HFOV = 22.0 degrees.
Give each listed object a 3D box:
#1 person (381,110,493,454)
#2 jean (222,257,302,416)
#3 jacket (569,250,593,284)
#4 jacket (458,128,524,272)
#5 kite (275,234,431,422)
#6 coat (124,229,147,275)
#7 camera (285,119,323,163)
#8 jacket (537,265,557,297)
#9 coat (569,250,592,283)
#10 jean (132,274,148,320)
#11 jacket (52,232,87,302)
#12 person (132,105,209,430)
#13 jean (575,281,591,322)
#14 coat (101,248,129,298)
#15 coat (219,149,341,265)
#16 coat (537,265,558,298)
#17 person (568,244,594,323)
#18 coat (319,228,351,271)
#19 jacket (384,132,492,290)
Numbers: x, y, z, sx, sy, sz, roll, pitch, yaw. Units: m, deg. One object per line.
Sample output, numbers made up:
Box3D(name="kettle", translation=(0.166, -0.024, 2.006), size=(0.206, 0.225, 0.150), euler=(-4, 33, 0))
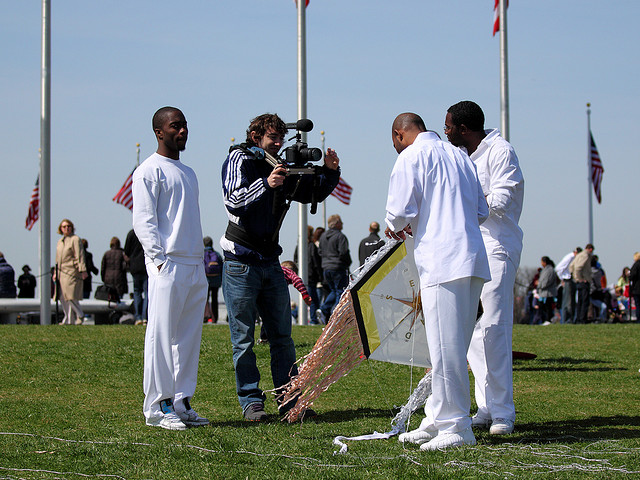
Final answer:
Box3D(name="person", translation=(1.300, 0.459, 18.451), size=(1.096, 3.584, 0.950), euler=(4, 9, 21))
Box3D(name="jean", translation=(-0.703, 1.071, 19.802), size=(0.723, 2.107, 0.577), euler=(-5, 15, -13))
Box3D(name="jacket", translation=(4.692, 0.502, 29.673), size=(0.294, 0.670, 0.482), euler=(7, -6, -11))
Box3D(name="jacket", translation=(1.922, -0.357, 18.688), size=(0.422, 1.628, 0.502), euler=(3, 2, 2))
Box3D(name="kite", translation=(0.525, 0.937, 19.064), size=(1.500, 1.972, 0.330), euler=(-2, 9, -16))
Box3D(name="coat", translation=(-3.043, 0.176, 27.018), size=(0.320, 0.749, 1.066), euler=(-1, 9, -7))
Box3D(name="camera", translation=(-0.219, -1.146, 19.309), size=(0.423, 0.475, 0.569), euler=(-2, 9, -18))
Box3D(name="jacket", translation=(4.262, 0.696, 30.646), size=(0.332, 0.601, 0.511), euler=(8, 18, 30))
Box3D(name="coat", translation=(4.706, 0.501, 29.685), size=(0.294, 0.633, 0.466), euler=(9, -5, -10))
Box3D(name="jean", translation=(-2.976, 0.918, 27.191), size=(0.222, 0.803, 0.480), euler=(0, 9, -3))
Box3D(name="jacket", translation=(-4.134, 0.457, 27.106), size=(0.620, 1.300, 0.339), euler=(1, 1, 34))
Box3D(name="person", translation=(-1.733, 0.320, 19.159), size=(0.884, 3.604, 0.925), euler=(8, 11, 41))
Box3D(name="jean", translation=(4.726, 1.100, 29.787), size=(0.256, 0.811, 0.482), euler=(2, 9, 8))
Box3D(name="coat", translation=(-3.614, 0.582, 28.849), size=(0.446, 0.959, 0.560), euler=(-1, 9, -8))
Box3D(name="coat", translation=(-0.545, -0.442, 19.558), size=(1.258, 1.508, 1.350), euler=(0, 2, -25))
Box3D(name="coat", translation=(4.289, 0.774, 30.686), size=(0.369, 0.628, 0.572), euler=(-3, -12, 32))
Box3D(name="person", translation=(4.669, 0.834, 29.675), size=(0.372, 1.277, 0.331), euler=(3, 9, 15))
Box3D(name="coat", translation=(0.220, 0.145, 27.532), size=(0.546, 0.711, 0.401), euler=(-2, -2, 34))
Box3D(name="jacket", translation=(1.351, -0.325, 18.433), size=(1.013, 2.324, 1.014), euler=(1, 2, -25))
